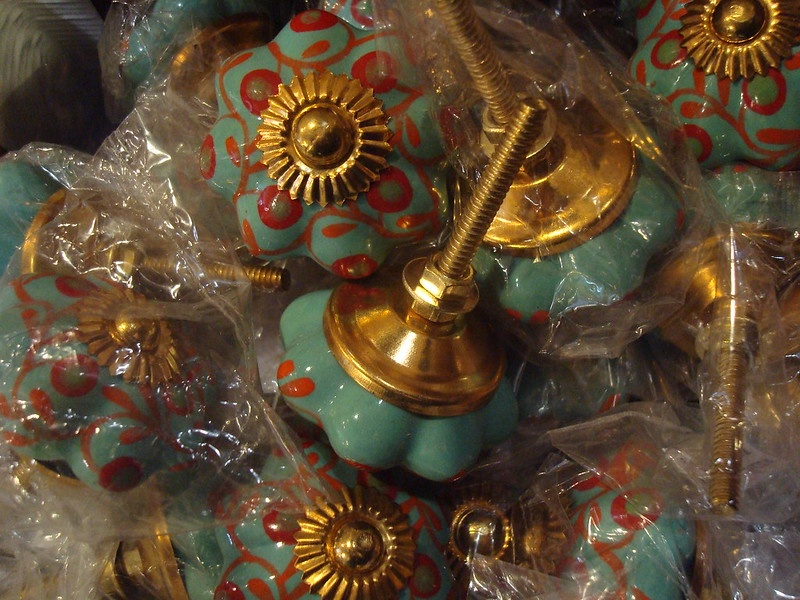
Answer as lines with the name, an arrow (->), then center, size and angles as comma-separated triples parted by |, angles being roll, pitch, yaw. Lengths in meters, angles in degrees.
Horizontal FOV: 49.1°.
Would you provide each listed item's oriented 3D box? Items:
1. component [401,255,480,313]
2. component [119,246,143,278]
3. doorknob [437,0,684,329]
component -> 0.046, -0.012, 1.002 | 0.065, 0.043, 0.072 | 14, 40, 4
component -> -0.329, -0.046, 1.098 | 0.027, 0.029, 0.034 | -6, 84, 8
doorknob -> 0.189, -0.149, 1.032 | 0.170, 0.288, 0.185 | -31, 32, 11
